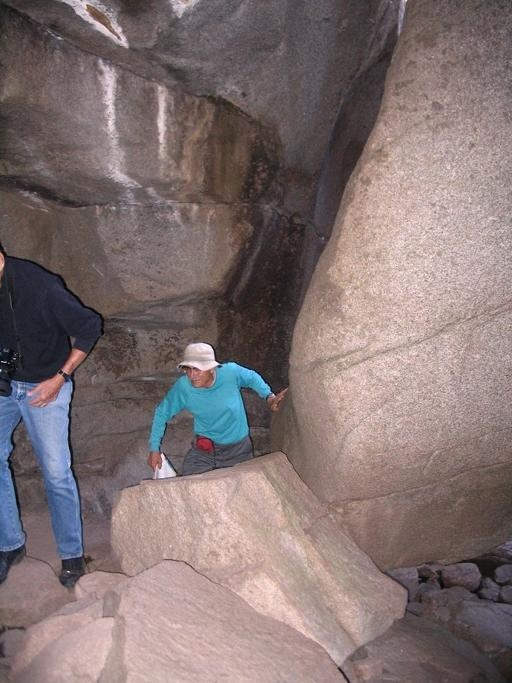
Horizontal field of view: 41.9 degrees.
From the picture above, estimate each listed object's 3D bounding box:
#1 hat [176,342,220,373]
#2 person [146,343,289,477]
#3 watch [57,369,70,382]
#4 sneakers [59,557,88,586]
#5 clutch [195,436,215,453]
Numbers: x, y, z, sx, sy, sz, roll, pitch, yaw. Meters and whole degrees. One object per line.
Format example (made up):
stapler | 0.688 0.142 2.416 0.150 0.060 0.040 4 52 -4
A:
hat | -0.228 0.073 2.753 0.180 0.132 0.144 0 19 -14
person | -0.182 0.301 3.123 0.778 1.014 0.316 -3 50 0
watch | -0.649 0.122 2.278 0.044 0.044 0.028 25 54 6
sneakers | -0.675 0.829 2.436 0.069 0.085 0.135 -22 -8 3
clutch | -0.221 0.453 3.008 0.062 0.082 0.042 -19 16 30
